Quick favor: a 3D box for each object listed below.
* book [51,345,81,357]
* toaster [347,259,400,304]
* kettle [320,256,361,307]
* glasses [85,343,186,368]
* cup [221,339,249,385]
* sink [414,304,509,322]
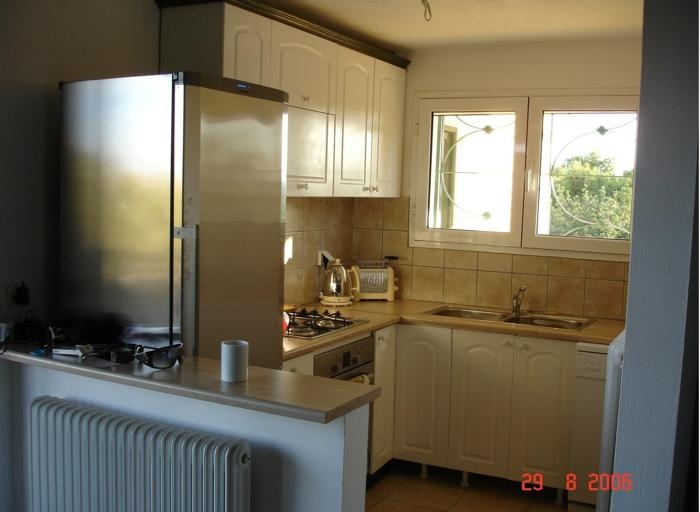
[{"bbox_3d":[-1.139,0.377,2.320,0.146,0.039,0.052,4,6,30],"label":"book"},{"bbox_3d":[0.156,0.186,4.581,0.345,0.296,0.344,0,13,-9],"label":"toaster"},{"bbox_3d":[-0.083,0.161,4.352,0.307,0.386,0.282,0,5,0],"label":"kettle"},{"bbox_3d":[-0.858,0.378,2.288,0.402,0.085,0.135,2,6,18],"label":"glasses"},{"bbox_3d":[-0.424,0.382,2.092,0.124,0.147,0.128,0,0,0],"label":"cup"},{"bbox_3d":[0.863,0.427,4.299,0.613,0.082,0.280,0,6,-2],"label":"sink"}]
